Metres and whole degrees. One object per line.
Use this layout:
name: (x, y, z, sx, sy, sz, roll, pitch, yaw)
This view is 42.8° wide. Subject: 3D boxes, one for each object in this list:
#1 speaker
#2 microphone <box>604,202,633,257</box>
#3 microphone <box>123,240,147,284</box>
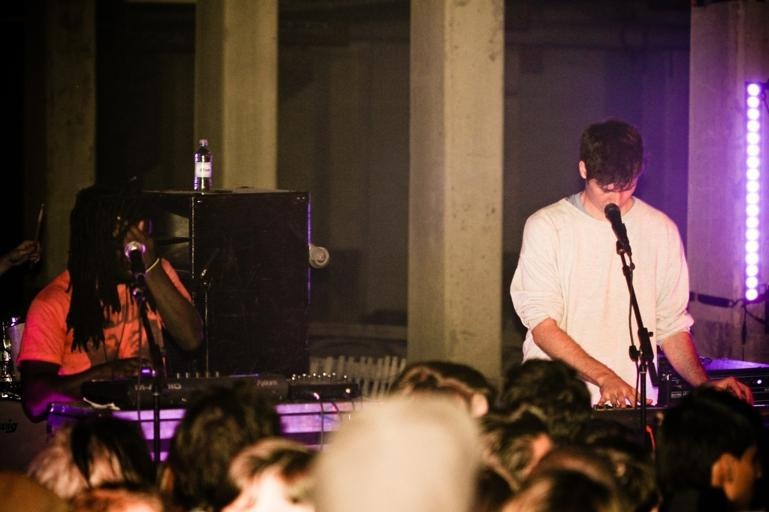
speaker: (-1.102, 0.187, 7.075, 1.122, 2.080, 1.130, 0, -1, -23)
microphone: (1.456, -0.201, 6.095, 0.107, 0.392, 0.108, -7, -34, -8)
microphone: (-1.496, 0.027, 5.896, 0.107, 0.242, 0.293, 1, 1, -12)
